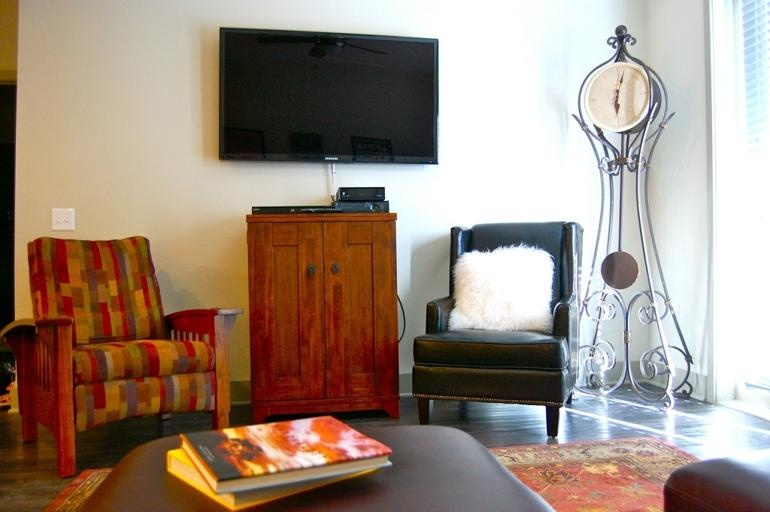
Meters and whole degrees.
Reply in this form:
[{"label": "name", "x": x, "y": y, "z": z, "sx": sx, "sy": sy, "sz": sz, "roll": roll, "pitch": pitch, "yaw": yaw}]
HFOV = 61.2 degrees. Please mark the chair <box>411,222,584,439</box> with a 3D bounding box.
[{"label": "chair", "x": 0.855, "y": 0.442, "z": 4.662, "sx": 0.955, "sy": 1.378, "sz": 1.298, "roll": -1, "pitch": -2, "yaw": 23}]
